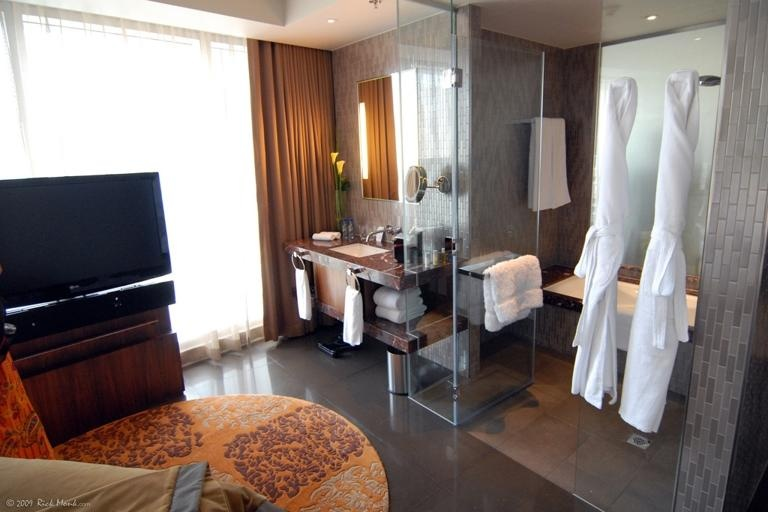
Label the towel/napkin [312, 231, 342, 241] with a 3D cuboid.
[{"bbox_3d":[-0.535,-0.180,4.854,0.261,0.077,0.188,-6,17,-10],"label":"towel/napkin"}]

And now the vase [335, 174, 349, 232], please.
[{"bbox_3d":[-0.400,-0.515,5.011,0.146,0.534,0.372,-4,17,-3],"label":"vase"}]

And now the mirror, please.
[{"bbox_3d":[-0.004,-1.042,4.659,0.019,1.019,0.831,7,18,32],"label":"mirror"}]

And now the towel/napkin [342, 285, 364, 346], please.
[{"bbox_3d":[-0.248,0.466,4.112,0.158,0.453,0.161,-3,17,-2],"label":"towel/napkin"}]

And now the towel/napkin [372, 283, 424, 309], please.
[{"bbox_3d":[0.076,0.316,3.995,0.208,0.084,0.218,-7,5,-41],"label":"towel/napkin"}]

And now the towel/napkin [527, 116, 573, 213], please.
[{"bbox_3d":[1.252,-0.714,4.011,0.141,0.761,0.787,7,18,39],"label":"towel/napkin"}]

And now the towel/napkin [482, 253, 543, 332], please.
[{"bbox_3d":[0.866,0.241,3.656,0.443,0.429,0.188,-15,21,-33],"label":"towel/napkin"}]

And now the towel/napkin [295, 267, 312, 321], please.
[{"bbox_3d":[-0.712,0.324,4.607,0.106,0.435,0.232,-6,17,-11],"label":"towel/napkin"}]

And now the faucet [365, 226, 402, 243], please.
[{"bbox_3d":[-0.036,-0.202,4.771,0.336,0.138,0.153,6,19,27],"label":"faucet"}]

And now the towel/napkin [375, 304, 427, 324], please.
[{"bbox_3d":[0.106,0.440,4.036,0.207,0.081,0.215,-5,4,-37],"label":"towel/napkin"}]

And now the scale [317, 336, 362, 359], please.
[{"bbox_3d":[-0.420,0.806,4.764,0.182,0.087,0.238,9,12,38],"label":"scale"}]
